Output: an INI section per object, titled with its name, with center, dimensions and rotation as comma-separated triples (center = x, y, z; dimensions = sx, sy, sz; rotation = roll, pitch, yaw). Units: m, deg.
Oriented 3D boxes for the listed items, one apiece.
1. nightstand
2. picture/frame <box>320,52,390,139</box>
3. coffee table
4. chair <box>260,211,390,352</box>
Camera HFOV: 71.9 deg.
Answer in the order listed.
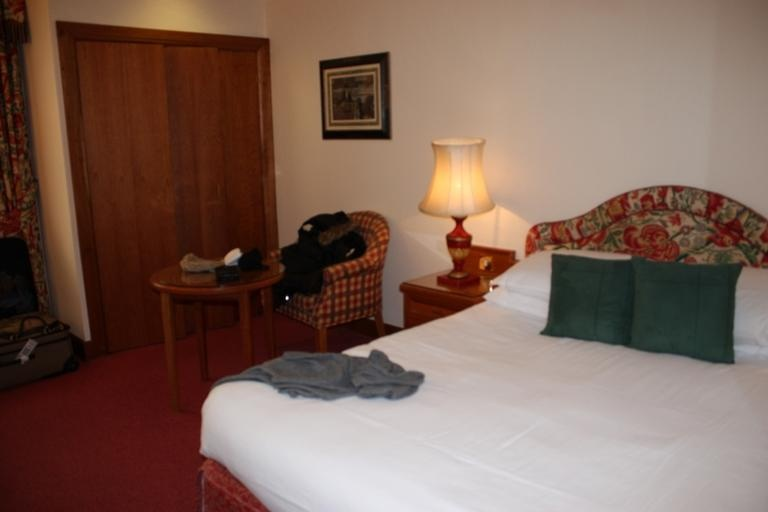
[nightstand]
center = 0.551, 0.396, 4.212
dimensions = 0.643, 0.767, 0.616
rotation = -12, -7, 12
[picture/frame]
center = -0.240, -1.480, 4.822
dimensions = 0.811, 0.768, 0.061
rotation = 7, 16, 35
[coffee table]
center = -1.262, 0.572, 3.820
dimensions = 0.604, 0.626, 0.619
rotation = 10, -14, -40
[chair]
center = -0.502, 0.105, 4.969
dimensions = 1.110, 1.284, 1.071
rotation = -7, 11, -44
